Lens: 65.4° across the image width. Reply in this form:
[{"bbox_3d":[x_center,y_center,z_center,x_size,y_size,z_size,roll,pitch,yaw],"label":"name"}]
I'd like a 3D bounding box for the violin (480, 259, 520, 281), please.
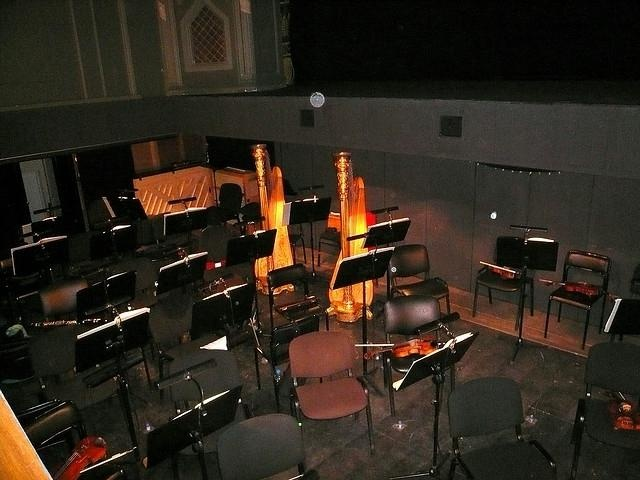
[{"bbox_3d":[2.939,0.497,8.111,0.244,0.109,0.381,-4,22,-46],"label":"violin"}]
